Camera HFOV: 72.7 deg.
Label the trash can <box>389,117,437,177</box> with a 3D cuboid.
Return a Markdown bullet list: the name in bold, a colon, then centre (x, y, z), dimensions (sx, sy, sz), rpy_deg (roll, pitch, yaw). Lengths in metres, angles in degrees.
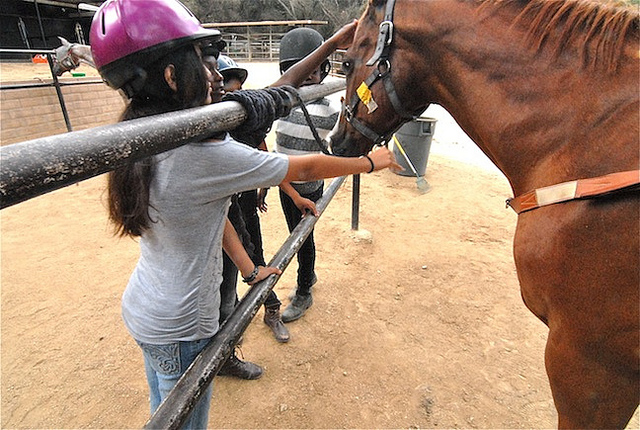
- **trash can**: centre (1.445, -1.076, 6.918), dimensions (0.726, 0.860, 0.854), rpy_deg (-5, 16, -30)

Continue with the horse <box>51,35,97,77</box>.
- **horse**: centre (-1.712, -1.134, 3.156), dimensions (0.551, 0.268, 0.125), rpy_deg (5, 19, 26)

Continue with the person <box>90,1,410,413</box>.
- **person**: centre (-0.550, 0.004, 2.208), dimensions (0.952, 1.927, 0.716), rpy_deg (-17, 32, -33)

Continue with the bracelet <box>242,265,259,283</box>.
- **bracelet**: centre (-0.374, 0.330, 2.444), dimensions (0.069, 0.029, 0.087), rpy_deg (-14, 40, 51)

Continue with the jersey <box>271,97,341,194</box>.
- **jersey**: centre (0.010, -0.478, 3.416), dimensions (0.456, 0.764, 0.792), rpy_deg (12, 7, 9)
